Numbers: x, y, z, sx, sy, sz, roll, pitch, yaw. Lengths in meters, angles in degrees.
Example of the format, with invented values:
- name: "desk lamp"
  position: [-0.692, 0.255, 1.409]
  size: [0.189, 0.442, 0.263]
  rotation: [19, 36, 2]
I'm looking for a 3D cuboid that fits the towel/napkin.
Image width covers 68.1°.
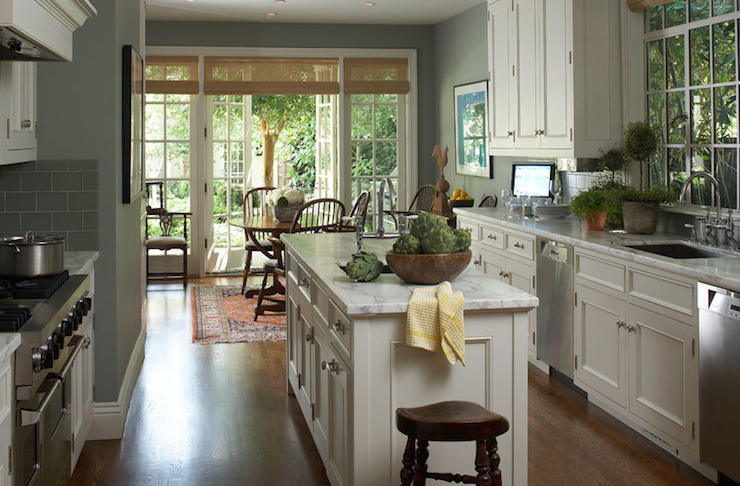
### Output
- name: "towel/napkin"
  position: [0.291, 0.357, 2.446]
  size: [0.252, 0.277, 0.248]
  rotation: [0, 9, 8]

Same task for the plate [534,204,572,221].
- name: "plate"
  position: [1.664, -0.285, 5.013]
  size: [0.364, 0.134, 0.233]
  rotation: [0, 10, 7]

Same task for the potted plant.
- name: "potted plant"
  position: [1.962, -0.525, 4.317]
  size: [0.679, 0.827, 0.669]
  rotation: [3, 10, 20]

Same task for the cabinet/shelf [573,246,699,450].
- name: "cabinet/shelf"
  position: [1.677, 0.664, 3.413]
  size: [0.443, 1.026, 1.174]
  rotation: [0, 3, -6]

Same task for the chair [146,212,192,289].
- name: "chair"
  position: [-2.728, 0.060, 7.459]
  size: [0.618, 1.049, 1.184]
  rotation: [-4, 10, -20]

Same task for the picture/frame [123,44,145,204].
- name: "picture/frame"
  position: [-1.753, -0.866, 4.055]
  size: [0.121, 1.070, 0.999]
  rotation: [-3, 10, -18]

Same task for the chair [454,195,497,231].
- name: "chair"
  position: [1.284, -0.368, 6.706]
  size: [0.422, 0.600, 0.469]
  rotation: [1, -1, -20]

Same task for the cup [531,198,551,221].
- name: "cup"
  position: [1.552, -0.307, 5.050]
  size: [0.212, 0.133, 0.218]
  rotation: [0, 10, 0]

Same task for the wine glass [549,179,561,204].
- name: "wine glass"
  position: [1.800, -0.498, 5.298]
  size: [0.093, 0.200, 0.389]
  rotation: [2, 10, 18]

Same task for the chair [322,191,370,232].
- name: "chair"
  position: [-0.292, -0.385, 6.672]
  size: [0.512, 0.743, 0.484]
  rotation: [1, 6, -6]

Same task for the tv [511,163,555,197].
- name: "tv"
  position: [1.630, -0.634, 5.526]
  size: [0.494, 0.326, 0.302]
  rotation: [5, 11, 32]

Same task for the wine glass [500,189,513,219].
- name: "wine glass"
  position: [1.336, -0.396, 5.311]
  size: [0.089, 0.251, 0.585]
  rotation: [1, 10, 14]

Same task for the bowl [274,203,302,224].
- name: "bowl"
  position: [-0.981, -0.350, 6.582]
  size: [0.290, 0.207, 0.241]
  rotation: [-2, 4, -2]
